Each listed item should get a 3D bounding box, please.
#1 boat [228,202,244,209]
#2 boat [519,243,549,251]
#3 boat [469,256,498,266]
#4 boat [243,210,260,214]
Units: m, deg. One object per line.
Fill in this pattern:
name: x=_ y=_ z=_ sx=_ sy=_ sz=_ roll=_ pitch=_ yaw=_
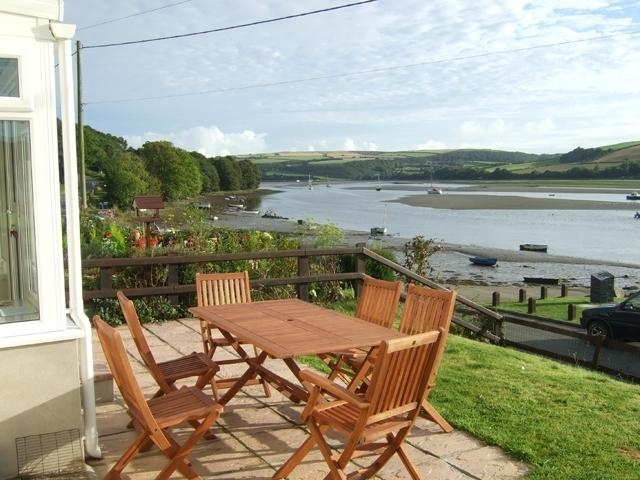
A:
boat: x=-14.877 y=-5.994 z=85.256 sx=1.635 sy=0.902 sz=4.651 roll=-1 pitch=5 yaw=-23
boat: x=19.943 y=0.836 z=44.208 sx=2.327 sy=0.511 sz=2.075 roll=1 pitch=3 yaw=22
boat: x=12.822 y=1.763 z=37.100 sx=1.866 sy=0.653 sz=1.175 roll=1 pitch=4 yaw=6
boat: x=-10.840 y=-4.381 z=74.782 sx=0.912 sy=0.513 sz=3.661 roll=-14 pitch=10 yaw=-42
